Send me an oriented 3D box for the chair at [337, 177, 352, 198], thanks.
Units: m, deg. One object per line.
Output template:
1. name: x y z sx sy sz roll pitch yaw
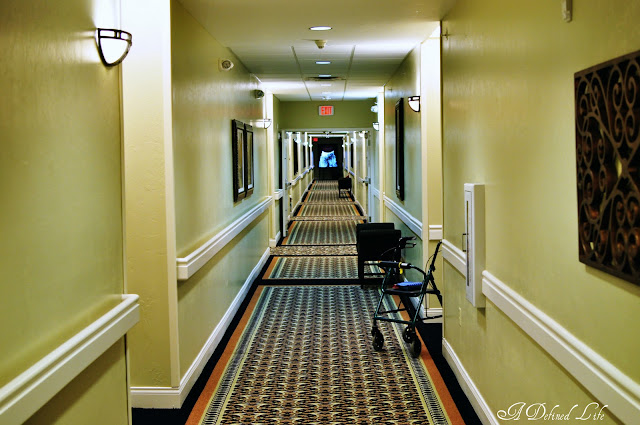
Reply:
1. chair: 1.347 -1.384 24.092 0.929 1.472 1.065 1 3 1

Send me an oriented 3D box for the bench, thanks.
1. bench: 0.943 0.735 7.576 0.905 1.199 0.876 0 7 4

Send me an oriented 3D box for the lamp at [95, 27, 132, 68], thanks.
1. lamp: -1.294 -1.055 2.861 0.165 0.239 0.227 -2 7 -5

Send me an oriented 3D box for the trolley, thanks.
1. trolley: 1.244 1.022 5.434 0.896 1.165 0.827 8 1 13
